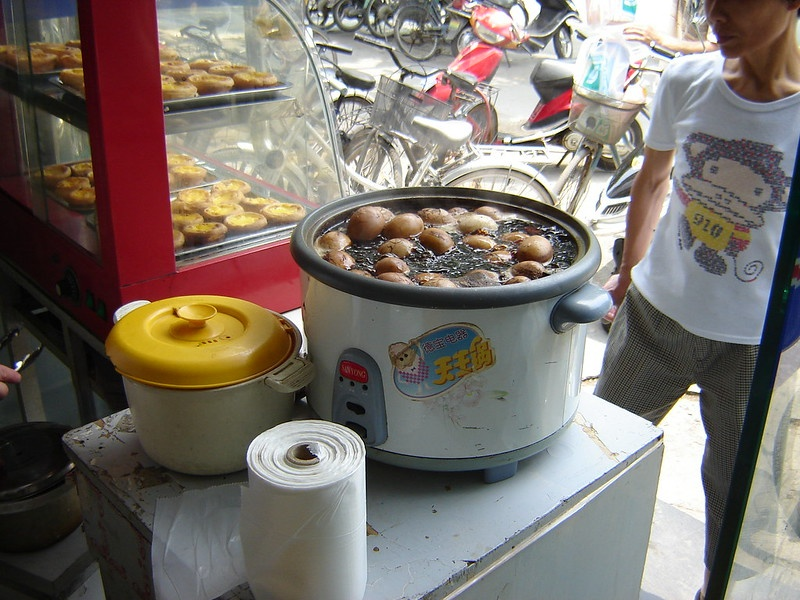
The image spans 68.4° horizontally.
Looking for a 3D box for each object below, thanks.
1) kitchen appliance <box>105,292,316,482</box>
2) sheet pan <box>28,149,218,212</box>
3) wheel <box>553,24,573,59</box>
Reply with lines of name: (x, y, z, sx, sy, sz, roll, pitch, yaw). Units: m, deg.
kitchen appliance: (-0.439, 0.173, 1.327, 0.378, 0.322, 0.429, -9, 29, -31)
sheet pan: (-0.996, -0.467, 2.222, 0.458, 0.064, 0.308, -16, 29, -40)
wheel: (2.647, -4.190, 9.562, 0.204, 0.626, 0.608, -5, 19, 5)
